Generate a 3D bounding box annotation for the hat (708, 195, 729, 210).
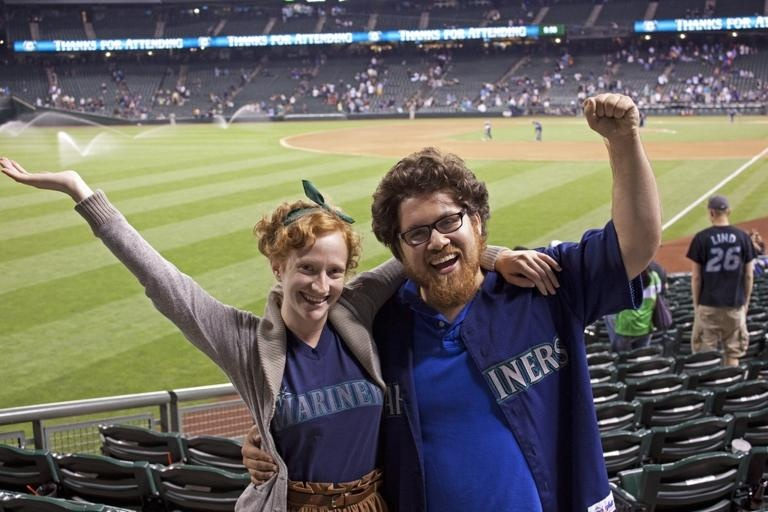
[{"bbox_3d":[4.825,-0.764,10.375,0.266,0.213,0.346,-4,4,27],"label":"hat"}]
